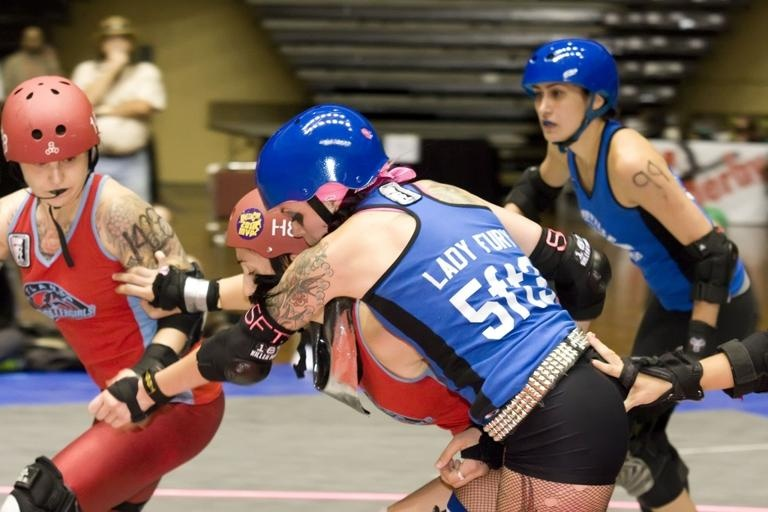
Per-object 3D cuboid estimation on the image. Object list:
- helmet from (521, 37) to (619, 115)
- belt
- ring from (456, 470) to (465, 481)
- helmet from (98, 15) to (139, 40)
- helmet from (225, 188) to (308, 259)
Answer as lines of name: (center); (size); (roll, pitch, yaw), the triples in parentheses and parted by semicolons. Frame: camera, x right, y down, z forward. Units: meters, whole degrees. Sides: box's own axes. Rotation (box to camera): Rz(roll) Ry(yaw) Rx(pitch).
helmet: (1.023, -1.026, 5.258); (0.487, 0.352, 0.364); (-10, 21, -13)
belt: (0.671, 0.584, 4.211); (0.119, 0.490, 0.364); (47, 1, 7)
ring: (0.358, 1.041, 4.444); (0.027, 0.041, 0.041); (-12, -27, 24)
helmet: (-2.426, -2.072, 8.490); (0.304, 0.165, 0.230); (-3, 15, -16)
helmet: (-0.585, -0.159, 4.879); (0.421, 0.335, 0.304); (16, 5, 6)
